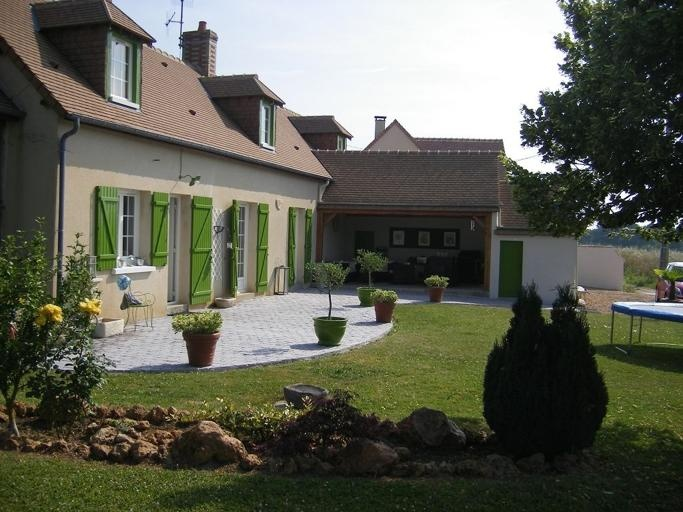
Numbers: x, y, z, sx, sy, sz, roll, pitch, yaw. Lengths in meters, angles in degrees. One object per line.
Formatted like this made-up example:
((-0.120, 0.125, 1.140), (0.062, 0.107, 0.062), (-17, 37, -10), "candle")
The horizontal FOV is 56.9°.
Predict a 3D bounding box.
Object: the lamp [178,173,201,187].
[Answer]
((-3.624, -1.880, 15.264), (0.301, 0.186, 0.359), (1, 3, 26), "lamp")

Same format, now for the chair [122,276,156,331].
((-4.372, 0.989, 13.713), (0.547, 1.096, 1.321), (1, -1, -1), "chair")

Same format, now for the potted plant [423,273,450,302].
((3.126, 1.060, 20.721), (0.655, 0.759, 0.571), (1, -3, -5), "potted plant")

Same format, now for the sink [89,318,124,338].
((-4.619, 1.445, 12.622), (0.244, 0.336, 0.707), (0, -2, 25), "sink")

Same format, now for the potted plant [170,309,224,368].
((-2.391, 1.340, 10.832), (0.972, 1.126, 0.800), (-1, -6, -11), "potted plant")
